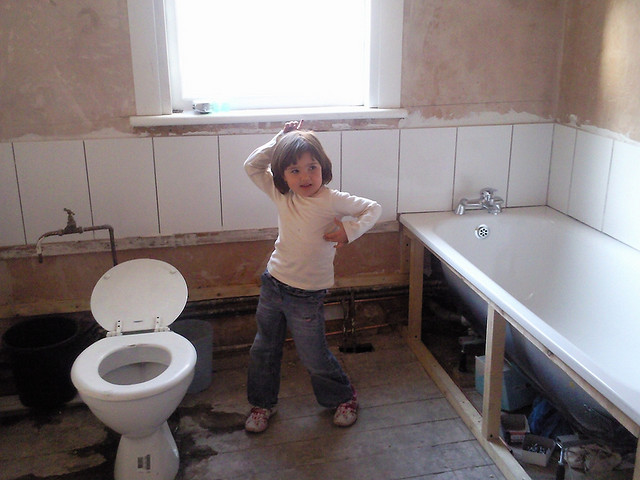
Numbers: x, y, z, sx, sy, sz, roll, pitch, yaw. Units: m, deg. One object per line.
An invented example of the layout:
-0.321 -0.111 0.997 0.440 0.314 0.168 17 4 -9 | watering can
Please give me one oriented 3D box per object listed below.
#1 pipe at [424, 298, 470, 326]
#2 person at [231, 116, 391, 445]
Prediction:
0.701 0.402 2.911 0.397 0.074 0.113 8 62 55 | pipe
-0.192 0.167 2.268 0.689 1.330 0.855 -15 24 -29 | person
